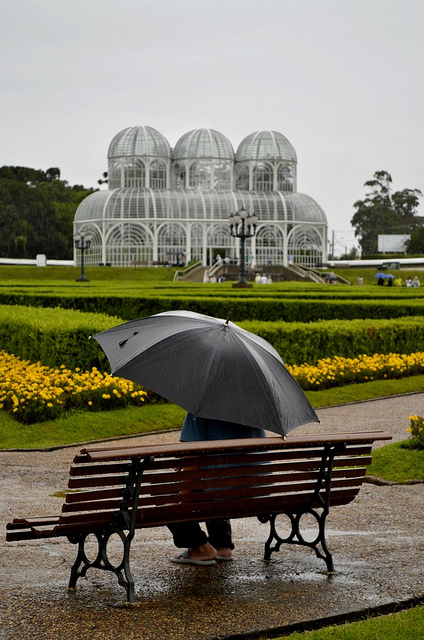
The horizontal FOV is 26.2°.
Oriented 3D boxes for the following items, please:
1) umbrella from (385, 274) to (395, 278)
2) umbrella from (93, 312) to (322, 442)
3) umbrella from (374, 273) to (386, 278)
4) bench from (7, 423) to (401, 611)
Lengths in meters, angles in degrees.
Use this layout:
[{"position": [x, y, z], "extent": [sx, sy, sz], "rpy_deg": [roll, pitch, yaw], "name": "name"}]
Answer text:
[{"position": [9.380, -2.318, 47.853], "extent": [0.579, 0.203, 0.594], "rpy_deg": [-1, -1, 8], "name": "umbrella"}, {"position": [-0.080, 0.195, 4.945], "extent": [0.839, 0.357, 0.834], "rpy_deg": [27, 10, -31], "name": "umbrella"}, {"position": [9.176, -2.444, 49.374], "extent": [0.730, 0.299, 0.745], "rpy_deg": [-1, 2, 1], "name": "umbrella"}, {"position": [-0.116, 0.965, 5.029], "extent": [2.175, 0.787, 1.333], "rpy_deg": [0, 0, -35], "name": "bench"}]
